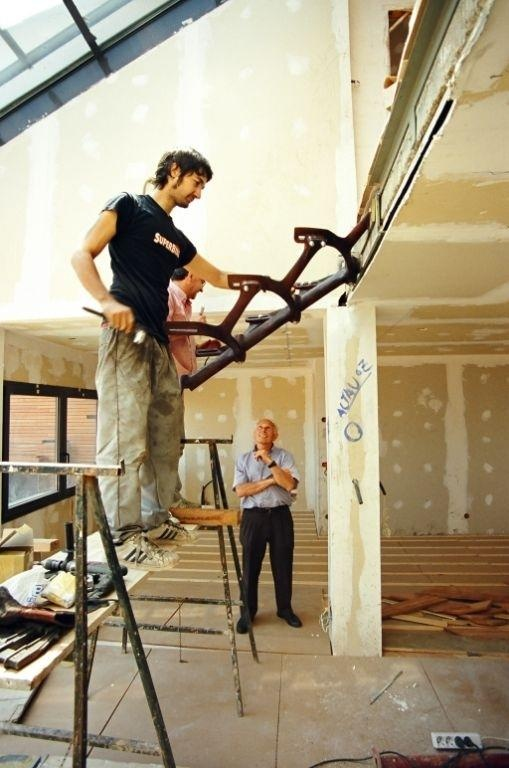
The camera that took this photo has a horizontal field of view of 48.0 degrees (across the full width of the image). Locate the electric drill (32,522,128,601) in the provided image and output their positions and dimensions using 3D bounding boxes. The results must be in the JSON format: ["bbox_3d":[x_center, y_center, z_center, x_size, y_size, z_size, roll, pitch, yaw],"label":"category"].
[{"bbox_3d":[-0.547,0.564,1.850,0.251,0.156,0.507,-1,-1,-18],"label":"electric drill"}]

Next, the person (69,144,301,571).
[{"bbox_3d":[-0.378,-0.124,2.149,0.437,1.475,0.924,-1,-1,13],"label":"person"}]

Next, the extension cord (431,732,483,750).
[{"bbox_3d":[0.939,1.659,2.655,0.228,0.036,0.151,-1,-1,13],"label":"extension cord"}]

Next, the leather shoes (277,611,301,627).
[{"bbox_3d":[0.245,1.703,4.143,0.064,0.077,0.182,-3,-4,-32],"label":"leather shoes"}]

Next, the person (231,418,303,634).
[{"bbox_3d":[0.092,1.027,4.235,0.488,1.518,0.404,-1,-3,9],"label":"person"}]

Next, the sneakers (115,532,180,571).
[{"bbox_3d":[-0.373,0.569,1.996,0.242,0.112,0.110,0,-1,21],"label":"sneakers"}]
